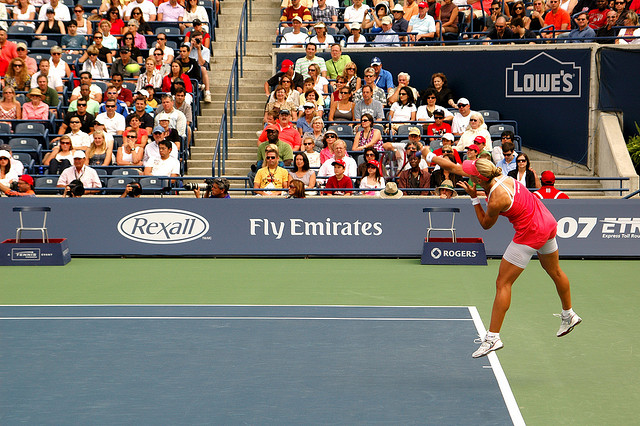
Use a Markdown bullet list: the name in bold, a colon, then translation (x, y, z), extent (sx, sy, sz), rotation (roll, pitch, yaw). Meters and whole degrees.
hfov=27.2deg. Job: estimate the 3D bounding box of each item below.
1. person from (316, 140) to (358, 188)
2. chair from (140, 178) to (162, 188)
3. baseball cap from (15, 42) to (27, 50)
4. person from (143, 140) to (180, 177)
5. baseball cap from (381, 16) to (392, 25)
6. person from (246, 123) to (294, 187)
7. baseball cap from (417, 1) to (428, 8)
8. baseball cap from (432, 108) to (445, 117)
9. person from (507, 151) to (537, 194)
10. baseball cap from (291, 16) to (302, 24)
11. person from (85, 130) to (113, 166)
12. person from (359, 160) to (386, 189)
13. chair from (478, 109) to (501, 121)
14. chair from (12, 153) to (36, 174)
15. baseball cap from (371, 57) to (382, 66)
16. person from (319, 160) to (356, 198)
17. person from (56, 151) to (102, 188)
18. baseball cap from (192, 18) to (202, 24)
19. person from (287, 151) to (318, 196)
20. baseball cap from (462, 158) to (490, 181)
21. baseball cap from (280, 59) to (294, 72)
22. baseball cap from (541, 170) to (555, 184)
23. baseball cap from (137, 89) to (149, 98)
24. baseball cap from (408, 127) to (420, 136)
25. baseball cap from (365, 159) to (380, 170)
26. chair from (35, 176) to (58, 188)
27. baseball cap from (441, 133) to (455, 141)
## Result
- **person**: translation (0.367, -1.183, 31.180), extent (0.834, 1.172, 1.175), rotation (2, 5, 15)
- **chair**: translation (-4.026, -0.713, 31.355), extent (0.488, 0.203, 0.445), rotation (-1, 14, -6)
- **baseball cap**: translation (-7.929, -4.430, 35.036), extent (0.331, 0.170, 0.466), rotation (-1, 1, -13)
- **person**: translation (-3.798, -1.226, 31.824), extent (0.845, 1.085, 0.672), rotation (1, 5, 0)
- **baseball cap**: translation (1.834, -5.280, 36.175), extent (0.245, 0.195, 0.327), rotation (2, 14, 7)
- **person**: translation (-1.199, -1.348, 31.775), extent (1.289, 1.747, 1.063), rotation (-3, 13, 5)
- **baseball cap**: translation (2.835, -5.759, 36.370), extent (0.256, 0.189, 0.412), rotation (0, -2, 6)
- **baseball cap**: translation (2.999, -2.544, 33.173), extent (0.169, 0.228, 0.230), rotation (0, -26, 11)
- **person**: translation (4.641, -0.873, 30.563), extent (0.673, 1.027, 0.562), rotation (3, -4, -2)
- **baseball cap**: translation (-0.644, -5.340, 36.501), extent (0.319, 0.153, 0.469), rotation (5, -4, 7)
- **person**: translation (-5.442, -1.492, 32.257), extent (0.680, 1.002, 0.720), rotation (4, 5, 10)
- **person**: translation (1.205, -0.777, 30.553), extent (0.518, 0.375, 0.859), rotation (1, 50, 9)
- **chair**: translation (4.511, -2.573, 34.962), extent (0.417, 0.404, 0.380), rotation (0, -5, 1)
- **chair**: translation (-7.170, -1.207, 32.143), extent (0.486, 0.623, 0.520), rotation (0, -3, -10)
- **baseball cap**: translation (1.468, -3.978, 34.757), extent (0.242, 0.178, 0.452), rotation (0, 14, -1)
- **person**: translation (0.398, -0.785, 30.459), extent (0.785, 0.906, 0.853), rotation (3, 8, 21)
- **person**: translation (-5.639, -0.885, 31.282), extent (1.246, 1.033, 0.806), rotation (0, -7, -2)
- **baseball cap**: translation (-3.377, -5.258, 36.266), extent (0.206, 0.136, 0.328), rotation (-1, 14, -4)
- **person**: translation (-0.454, -0.869, 31.120), extent (0.707, 1.093, 0.626), rotation (0, 5, 14)
- **baseball cap**: translation (2.934, -0.832, 24.893), extent (0.499, 0.408, 0.298), rotation (2, 14, 7)
- **baseball cap**: translation (-0.921, -3.923, 35.362), extent (0.261, 0.220, 0.405), rotation (6, 26, 30)
- **baseball cap**: translation (5.213, -0.811, 30.192), extent (0.298, 0.269, 0.336), rotation (2, 14, 6)
- **baseball cap**: translation (-4.470, -2.999, 33.415), extent (0.275, 0.210, 0.586), rotation (-2, 14, -6)
- **baseball cap**: translation (2.259, -1.956, 31.595), extent (0.239, 0.182, 0.342), rotation (1, 14, 4)
- **baseball cap**: translation (1.255, -1.143, 30.759), extent (0.228, 0.245, 0.361), rotation (9, 17, 34)
- **chair**: translation (-6.508, -0.736, 31.519), extent (0.372, 0.294, 0.343), rotation (1, -8, -11)
- **baseball cap**: translation (3.088, -1.824, 31.914), extent (0.249, 0.213, 0.369), rotation (3, 14, 13)
